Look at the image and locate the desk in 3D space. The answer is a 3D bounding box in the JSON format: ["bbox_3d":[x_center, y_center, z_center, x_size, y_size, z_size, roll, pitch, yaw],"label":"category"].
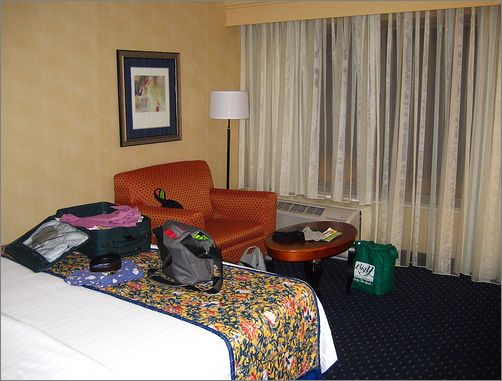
[{"bbox_3d":[0.683,0.792,4.177,0.999,0.750,0.685,-14,18,-35],"label":"desk"}]

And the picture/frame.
[{"bbox_3d":[-1.200,-1.097,4.670,0.180,1.040,0.890,8,17,30],"label":"picture/frame"}]

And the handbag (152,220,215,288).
[{"bbox_3d":[-0.445,0.390,2.501,0.392,0.376,0.358,0,-9,41],"label":"handbag"}]

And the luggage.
[{"bbox_3d":[-1.128,0.336,2.688,0.525,0.190,0.626,11,14,34],"label":"luggage"}]

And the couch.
[{"bbox_3d":[-0.613,0.351,4.445,1.159,1.282,1.588,4,9,33],"label":"couch"}]

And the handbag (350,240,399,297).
[{"bbox_3d":[1.280,0.808,4.163,0.247,0.528,0.497,-1,6,-36],"label":"handbag"}]
